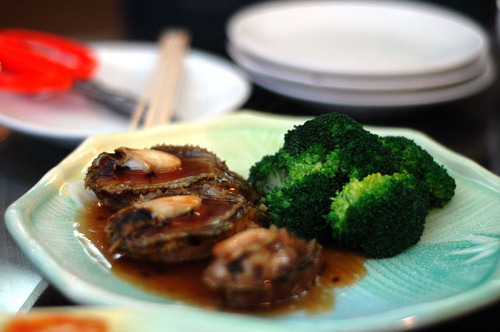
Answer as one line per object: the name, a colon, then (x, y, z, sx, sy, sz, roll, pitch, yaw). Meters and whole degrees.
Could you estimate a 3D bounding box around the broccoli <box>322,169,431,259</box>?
broccoli: (0.506, 0.193, 1.880, 0.432, 0.325, 0.267, 0, 17, -3)

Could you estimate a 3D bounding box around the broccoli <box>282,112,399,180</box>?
broccoli: (0.362, -0.132, 1.980, 0.458, 0.287, 0.344, -4, 10, -20)

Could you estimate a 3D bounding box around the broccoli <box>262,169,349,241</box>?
broccoli: (0.182, 0.123, 1.930, 0.404, 0.258, 0.241, -17, 28, -35)

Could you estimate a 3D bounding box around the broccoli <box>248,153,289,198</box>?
broccoli: (0.075, 0.021, 2.003, 0.195, 0.179, 0.136, -11, 14, -29)

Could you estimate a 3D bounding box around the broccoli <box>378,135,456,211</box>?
broccoli: (0.746, -0.009, 2.043, 0.216, 0.316, 0.337, 13, 17, 36)

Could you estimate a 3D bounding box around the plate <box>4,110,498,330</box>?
plate: (0.164, 0.299, 1.921, 1.187, 0.220, 1.222, 1, 26, 1)
